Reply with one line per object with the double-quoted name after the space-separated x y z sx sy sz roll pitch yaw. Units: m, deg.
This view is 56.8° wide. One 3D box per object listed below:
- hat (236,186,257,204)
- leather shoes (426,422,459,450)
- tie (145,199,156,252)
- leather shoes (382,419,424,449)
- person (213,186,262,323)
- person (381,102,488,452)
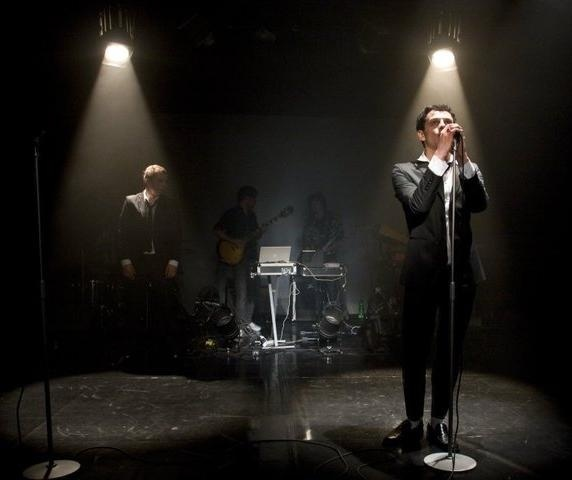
-0.591 -0.706 8.019 0.256 0.292 0.220 -20 2 -2 "hat"
1.003 1.282 3.447 0.088 0.133 0.291 0 -20 -8 "leather shoes"
-1.509 -0.106 5.930 0.103 0.533 0.091 -1 2 -17 "tie"
0.783 1.275 3.488 0.308 0.159 0.126 0 -1 -6 "leather shoes"
-0.615 0.220 7.627 0.664 2.018 0.788 -1 2 -29 "person"
0.970 0.224 3.460 0.618 2.257 0.485 0 2 24 "person"
